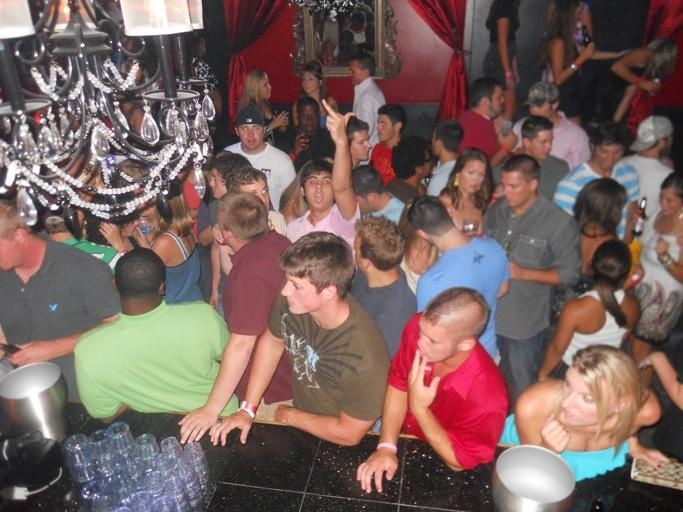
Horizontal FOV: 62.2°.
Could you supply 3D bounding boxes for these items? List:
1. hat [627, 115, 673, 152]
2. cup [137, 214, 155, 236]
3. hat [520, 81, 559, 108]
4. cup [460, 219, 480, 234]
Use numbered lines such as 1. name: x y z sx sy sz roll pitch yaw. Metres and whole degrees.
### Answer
1. hat: 2.656 -1.088 4.890 0.374 0.192 0.234 -35 26 3
2. cup: -1.529 -0.240 4.413 0.125 0.189 0.084 -3 29 -8
3. hat: 1.919 -1.511 5.362 0.298 0.187 0.221 -12 29 -16
4. cup: 0.888 -0.226 3.894 0.124 0.130 0.129 0 7 0
